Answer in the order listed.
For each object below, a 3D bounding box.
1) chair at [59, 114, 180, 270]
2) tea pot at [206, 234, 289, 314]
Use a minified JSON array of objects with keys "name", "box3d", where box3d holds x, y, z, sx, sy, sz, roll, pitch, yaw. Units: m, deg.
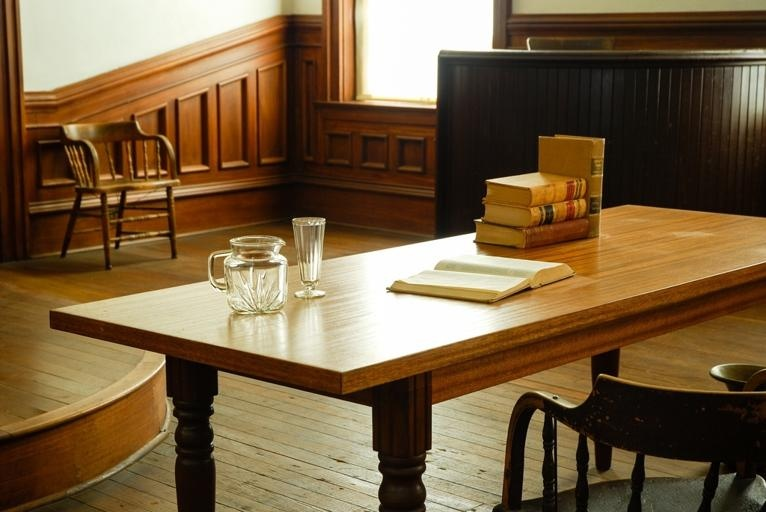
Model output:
[{"name":"chair","box3d":[-2.517,-0.628,5.513,0.818,1.204,0.913,10,14,30]},{"name":"tea pot","box3d":[-0.340,0.042,1.452,0.207,0.200,0.158,0,6,-2]}]
